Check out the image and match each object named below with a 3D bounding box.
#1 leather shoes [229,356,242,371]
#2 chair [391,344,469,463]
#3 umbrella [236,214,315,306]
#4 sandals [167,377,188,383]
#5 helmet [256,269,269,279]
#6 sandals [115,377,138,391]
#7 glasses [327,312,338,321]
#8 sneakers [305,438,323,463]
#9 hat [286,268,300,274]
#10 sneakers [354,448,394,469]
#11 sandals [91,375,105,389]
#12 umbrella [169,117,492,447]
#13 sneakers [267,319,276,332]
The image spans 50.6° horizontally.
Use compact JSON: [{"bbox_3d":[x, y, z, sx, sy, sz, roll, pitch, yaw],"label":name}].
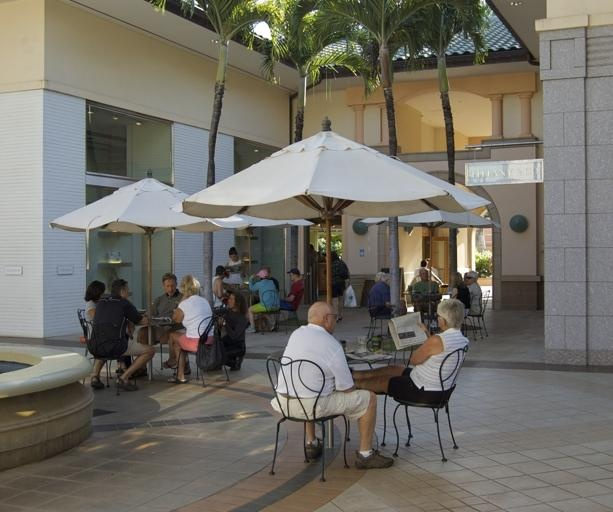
[{"bbox_3d":[-0.979,1.555,9.430,0.197,0.220,0.233,1,-10,3],"label":"leather shoes"},{"bbox_3d":[1.094,1.288,5.910,0.673,0.847,0.587,-4,0,32],"label":"chair"},{"bbox_3d":[-0.990,0.193,20.421,2.541,2.089,2.218,0,-3,2],"label":"umbrella"},{"bbox_3d":[-1.740,1.657,8.685,0.246,0.064,0.090,4,1,5],"label":"sandals"},{"bbox_3d":[-1.017,0.401,14.722,0.411,0.257,0.246,-1,-7,36],"label":"helmet"},{"bbox_3d":[-2.276,1.634,8.298,0.317,0.130,0.162,2,0,-44],"label":"sandals"},{"bbox_3d":[0.212,0.495,5.441,0.082,0.051,0.073,0,14,-18],"label":"glasses"},{"bbox_3d":[0.058,1.695,5.687,0.087,0.098,0.231,0,1,20],"label":"sneakers"},{"bbox_3d":[-0.311,0.328,14.223,0.208,0.110,0.150,22,10,18],"label":"hat"},{"bbox_3d":[0.555,1.721,5.529,0.333,0.135,0.130,-1,-1,-6],"label":"sneakers"},{"bbox_3d":[-2.704,1.633,8.399,0.097,0.096,0.231,1,1,-1],"label":"sandals"},{"bbox_3d":[0.636,0.259,6.625,3.175,2.185,3.289,-1,1,-41],"label":"umbrella"},{"bbox_3d":[-0.751,1.513,14.071,0.191,0.230,0.220,0,-8,2],"label":"sneakers"}]
